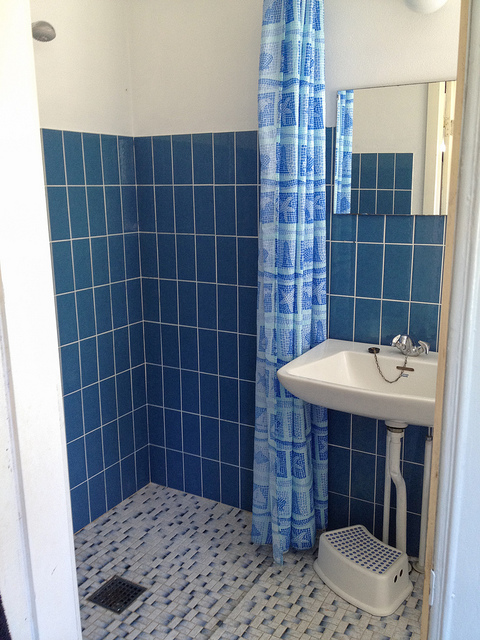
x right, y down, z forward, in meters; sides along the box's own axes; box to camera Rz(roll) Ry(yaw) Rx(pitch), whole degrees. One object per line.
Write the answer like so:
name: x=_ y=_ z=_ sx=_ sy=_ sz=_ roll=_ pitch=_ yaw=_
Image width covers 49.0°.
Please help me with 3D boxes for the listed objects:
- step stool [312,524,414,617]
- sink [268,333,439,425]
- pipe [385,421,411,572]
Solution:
step stool: x=0.466 y=0.949 z=2.052 sx=0.259 sy=0.161 sz=0.373 roll=-10 pitch=13 yaw=-39
sink: x=0.417 y=0.285 z=1.925 sx=0.573 sy=0.347 sz=0.517 roll=3 pitch=11 yaw=27
pipe: x=0.583 y=0.670 z=2.011 sx=0.092 sy=0.562 sz=0.094 roll=8 pitch=12 yaw=25
